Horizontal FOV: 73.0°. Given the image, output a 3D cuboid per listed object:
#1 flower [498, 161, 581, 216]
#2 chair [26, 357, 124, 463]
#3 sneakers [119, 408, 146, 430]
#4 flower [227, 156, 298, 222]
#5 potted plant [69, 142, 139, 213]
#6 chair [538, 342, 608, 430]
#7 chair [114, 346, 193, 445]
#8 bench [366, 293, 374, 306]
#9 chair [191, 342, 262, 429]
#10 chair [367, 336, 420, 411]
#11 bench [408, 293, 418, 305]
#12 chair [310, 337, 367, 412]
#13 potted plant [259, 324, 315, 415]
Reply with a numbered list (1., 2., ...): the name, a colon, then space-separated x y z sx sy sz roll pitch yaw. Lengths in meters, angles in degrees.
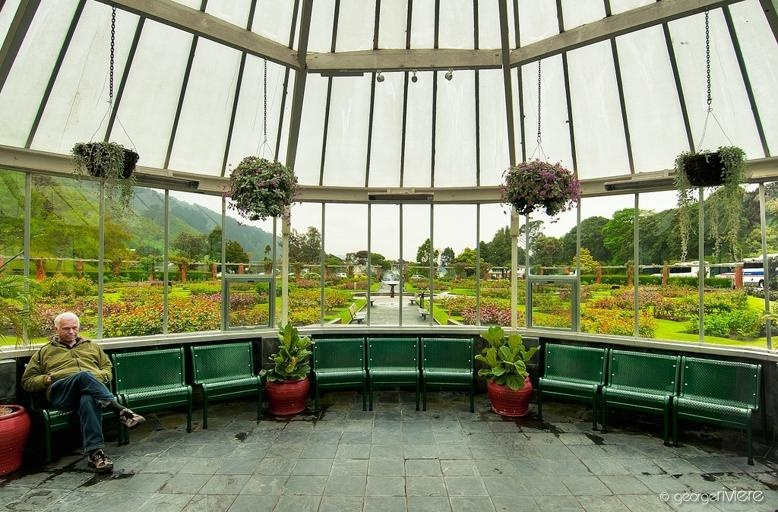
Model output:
1. flower: 2.632 -1.135 9.104 1.081 0.709 1.075 -1 0 36
2. chair: -4.971 2.175 8.580 1.331 1.687 1.211 -5 -4 40
3. sneakers: -3.985 2.552 8.251 0.527 0.244 0.222 0 9 28
4. flower: -2.226 -1.096 9.463 1.139 1.149 1.189 -3 -4 20
5. potted plant: -4.783 -1.341 8.829 0.953 1.071 0.624 -1 -4 -29
6. chair: 3.320 2.356 9.411 1.243 1.395 0.699 -3 -16 26
7. chair: -4.045 2.391 8.899 1.328 1.483 0.778 5 -15 -36
8. bench: -0.393 0.921 10.855 0.213 0.275 0.215 1 -9 -10
9. chair: -2.985 2.345 9.446 1.205 1.383 0.730 4 -17 -33
10. chair: 0.071 2.213 9.919 0.999 1.191 0.750 1 2 -2
11. bench: 0.501 0.921 11.066 0.219 0.249 0.211 2 -4 -9
12. chair: -0.935 2.197 9.864 0.969 1.169 0.663 0 5 -7
13. potted plant: -1.869 2.081 9.624 0.846 1.652 0.413 -3 -4 -13
